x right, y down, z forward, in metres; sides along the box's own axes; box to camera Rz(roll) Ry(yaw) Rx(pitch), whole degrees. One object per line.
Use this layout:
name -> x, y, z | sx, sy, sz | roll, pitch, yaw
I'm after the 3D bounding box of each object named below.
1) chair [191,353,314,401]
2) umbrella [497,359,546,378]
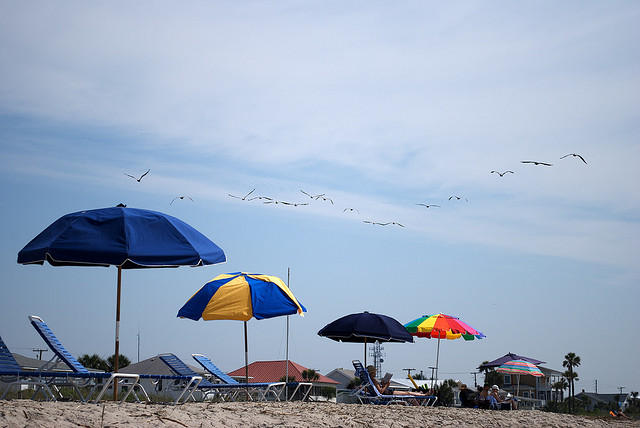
chair -> -2.444, 5.535, 37.158 | 3.690, 1.267, 1.096 | 2, 0, 10
umbrella -> 8.353, 6.370, 45.818 | 1.742, 0.746, 2.266 | 2, -12, 9
